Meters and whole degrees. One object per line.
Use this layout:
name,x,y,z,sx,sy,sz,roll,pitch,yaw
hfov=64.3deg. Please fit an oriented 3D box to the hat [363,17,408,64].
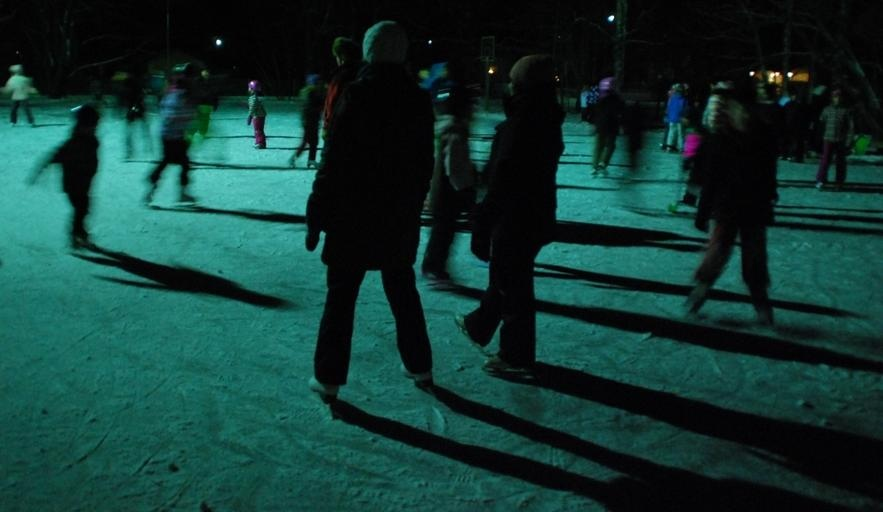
hat,-0.528,-2.018,6.550,0.363,0.356,0.458,1,29,-7

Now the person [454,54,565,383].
person,0.739,-0.377,7.007,0.779,3.191,0.421,5,12,6

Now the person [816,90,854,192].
person,8.225,-2.440,14.717,0.635,2.073,1.009,9,13,26

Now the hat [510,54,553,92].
hat,0.853,-1.811,6.895,0.453,0.318,0.318,-19,21,-2

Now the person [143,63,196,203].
person,-4.732,-2.099,12.272,0.780,2.261,1.115,-1,12,-22

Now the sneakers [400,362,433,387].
sneakers,-0.238,1.176,6.997,0.259,0.219,0.215,7,1,15
